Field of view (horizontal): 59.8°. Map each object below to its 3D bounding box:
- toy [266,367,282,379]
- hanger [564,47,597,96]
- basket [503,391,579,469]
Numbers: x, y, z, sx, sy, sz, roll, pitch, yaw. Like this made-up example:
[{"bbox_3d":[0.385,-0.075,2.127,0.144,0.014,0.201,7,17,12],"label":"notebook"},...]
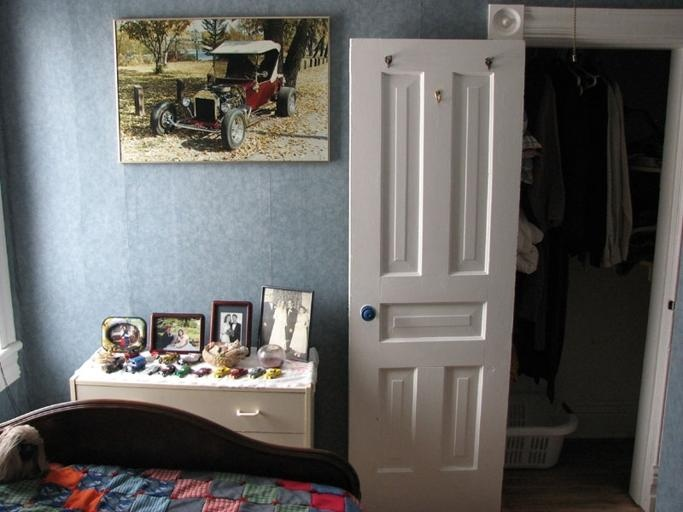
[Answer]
[{"bbox_3d":[-0.328,0.565,2.856,0.043,0.026,0.056,-12,8,-21],"label":"toy"},{"bbox_3d":[1.260,-0.958,3.103,0.191,0.257,0.085,1,-5,11],"label":"hanger"},{"bbox_3d":[1.203,1.066,3.606,0.372,0.199,0.507,-2,7,10],"label":"basket"}]
